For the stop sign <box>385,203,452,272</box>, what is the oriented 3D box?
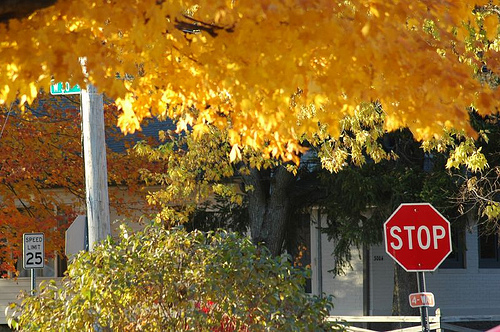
[{"bbox_3d":[2.909,1.265,22.685,0.926,1.282,0.867,2,-5,-2],"label":"stop sign"}]
